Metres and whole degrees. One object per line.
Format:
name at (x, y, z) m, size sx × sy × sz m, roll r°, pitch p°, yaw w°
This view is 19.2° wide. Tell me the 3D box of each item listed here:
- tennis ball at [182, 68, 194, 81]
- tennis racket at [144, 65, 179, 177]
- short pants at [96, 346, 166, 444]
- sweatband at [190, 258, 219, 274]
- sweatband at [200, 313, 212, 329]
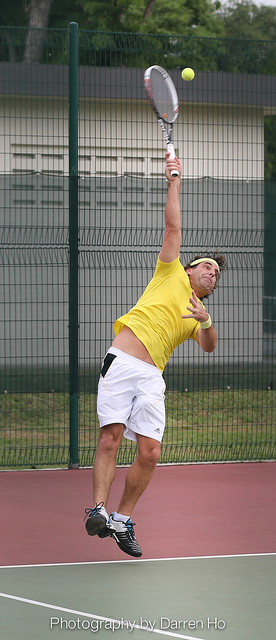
tennis ball at (0.356, -1.735, 5.814) m, size 0.068 × 0.096 × 0.076 m, roll -10°, pitch 1°, yaw -22°
tennis racket at (0.216, -1.335, 5.921) m, size 0.057 × 0.979 × 0.335 m, roll -29°, pitch 41°, yaw -21°
short pants at (-0.051, 0.530, 4.661) m, size 0.377 × 0.356 × 0.677 m, roll 8°, pitch 48°, yaw -1°
sweatband at (0.399, -0.342, 4.967) m, size 0.164 × 0.053 × 0.097 m, roll 0°, pitch 1°, yaw 0°
sweatband at (0.384, 0.016, 4.695) m, size 0.047 × 0.076 × 0.057 m, roll -8°, pitch -17°, yaw 6°
